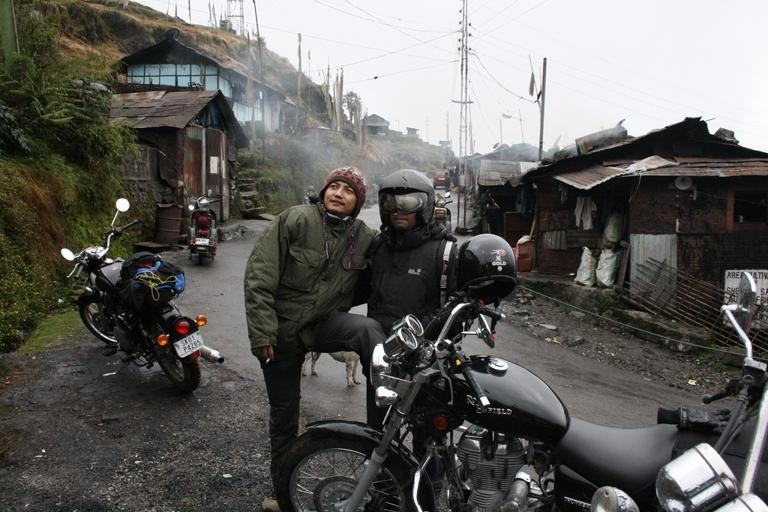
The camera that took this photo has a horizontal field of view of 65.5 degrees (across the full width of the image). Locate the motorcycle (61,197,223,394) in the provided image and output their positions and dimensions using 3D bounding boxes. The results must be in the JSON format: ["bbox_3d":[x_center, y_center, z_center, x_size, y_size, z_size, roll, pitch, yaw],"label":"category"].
[{"bbox_3d":[-3.054,0.659,7.506,2.534,1.916,0.634,8,11,33],"label":"motorcycle"}]

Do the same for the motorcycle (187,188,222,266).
[{"bbox_3d":[-4.408,-0.819,14.704,0.679,1.209,1.769,3,23,-10],"label":"motorcycle"}]

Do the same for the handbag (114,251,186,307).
[{"bbox_3d":[-2.896,0.324,7.336,0.759,0.638,0.484,4,9,14],"label":"handbag"}]

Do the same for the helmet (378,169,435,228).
[{"bbox_3d":[0.260,-0.582,6.040,0.454,0.507,0.591,-1,2,14],"label":"helmet"}]

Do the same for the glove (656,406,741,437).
[{"bbox_3d":[2.592,1.372,4.978,0.362,0.137,0.315,1,-4,15],"label":"glove"}]
